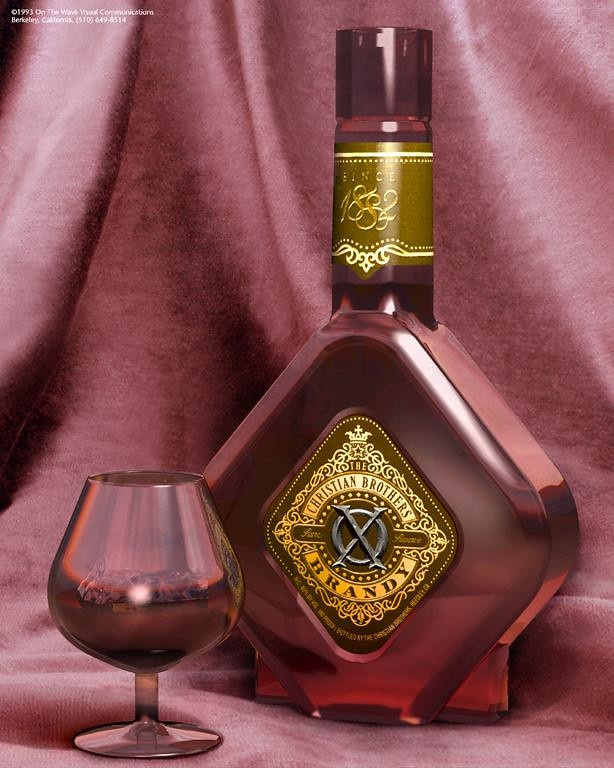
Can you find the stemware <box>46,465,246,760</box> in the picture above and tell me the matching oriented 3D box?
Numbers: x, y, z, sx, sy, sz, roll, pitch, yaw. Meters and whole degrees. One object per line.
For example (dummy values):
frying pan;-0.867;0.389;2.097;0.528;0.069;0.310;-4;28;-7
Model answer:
stemware;-0.091;0.124;0.525;0.163;0.155;0.197;0;90;-23
